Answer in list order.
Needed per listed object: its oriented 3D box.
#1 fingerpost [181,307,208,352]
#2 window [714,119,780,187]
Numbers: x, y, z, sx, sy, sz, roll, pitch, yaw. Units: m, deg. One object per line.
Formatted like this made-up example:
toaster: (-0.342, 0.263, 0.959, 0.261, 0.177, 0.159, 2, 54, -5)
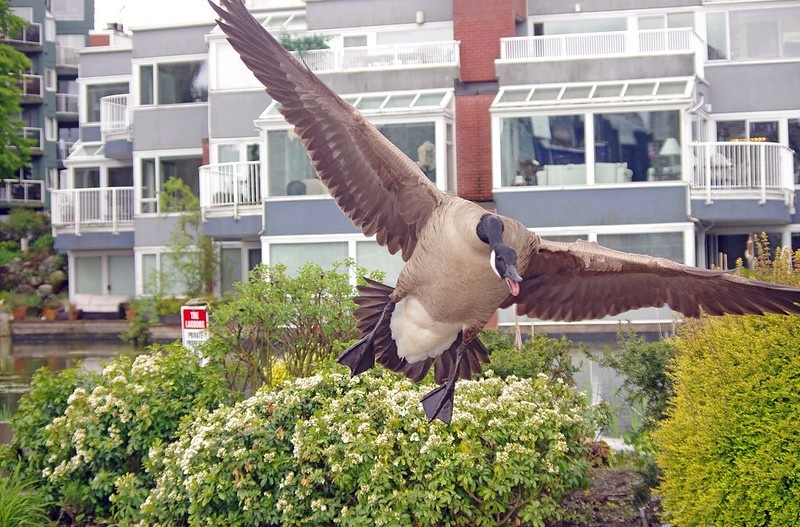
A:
fingerpost: (-4.417, 1.405, 31.383, 0.841, 1.207, 0.121, -1, 0, 5)
window: (9.294, -3.052, 38.991, 2.001, 1.207, 1.920, -2, 1, -43)
